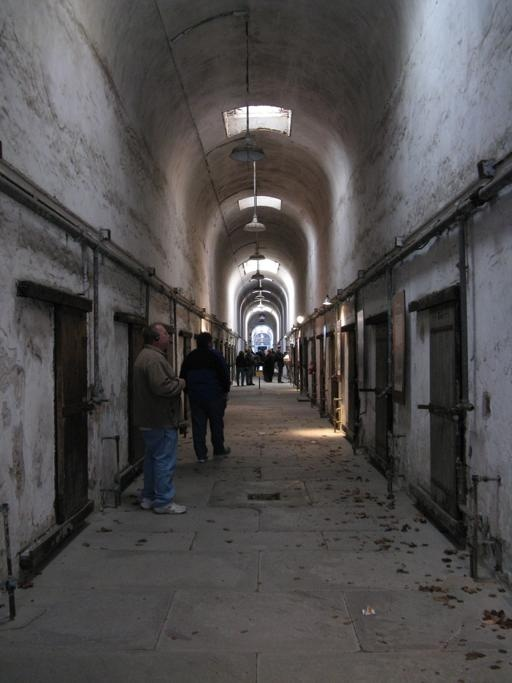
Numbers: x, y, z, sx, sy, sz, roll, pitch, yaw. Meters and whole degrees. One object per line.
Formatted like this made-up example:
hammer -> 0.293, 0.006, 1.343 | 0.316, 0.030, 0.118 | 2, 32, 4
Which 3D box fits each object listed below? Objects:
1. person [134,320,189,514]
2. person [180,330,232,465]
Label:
person -> -0.909, 0.735, 4.850 | 0.489, 1.771, 0.594 | 1, -3, -19
person -> -0.733, 0.780, 7.583 | 0.492, 2.115, 0.613 | -1, 15, -3
